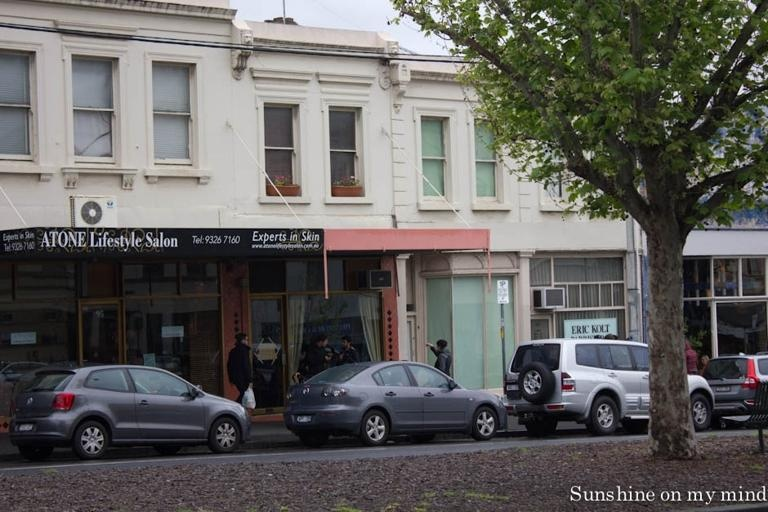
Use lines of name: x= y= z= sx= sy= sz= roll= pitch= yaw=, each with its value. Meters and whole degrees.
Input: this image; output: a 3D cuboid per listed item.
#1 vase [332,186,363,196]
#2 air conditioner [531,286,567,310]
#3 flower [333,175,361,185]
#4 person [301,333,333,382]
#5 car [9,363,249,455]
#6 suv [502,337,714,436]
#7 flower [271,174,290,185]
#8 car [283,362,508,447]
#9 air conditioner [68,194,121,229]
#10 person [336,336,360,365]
vase: x=-0.982 y=-1.735 z=27.787 sx=0.544 sy=0.189 sz=0.362 roll=1 pitch=-4 yaw=-22
air conditioner: x=4.971 y=1.267 z=30.161 sx=1.086 sy=0.613 sz=0.755 roll=0 pitch=-4 yaw=-30
flower: x=-0.988 y=-2.054 z=27.966 sx=0.709 sy=0.253 sz=0.354 roll=-1 pitch=7 yaw=-11
person: x=-1.735 y=2.668 z=26.329 sx=0.369 sy=0.468 sz=1.083 roll=5 pitch=-37 yaw=-21
car: x=-5.435 y=3.256 z=21.286 sx=3.795 sy=1.481 sz=2.076 roll=1 pitch=-4 yaw=-35
suv: x=5.469 y=3.278 z=25.211 sx=4.816 sy=2.002 sz=2.203 roll=-1 pitch=-2 yaw=-34
flower: x=-2.698 y=-1.994 z=27.171 sx=0.308 sy=0.149 sz=0.371 roll=2 pitch=-7 yaw=-18
car: x=0.318 y=3.351 z=23.306 sx=4.341 sy=1.563 sz=1.973 roll=1 pitch=-5 yaw=-32
air conditioner: x=-6.859 y=-0.978 z=24.252 sx=1.243 sy=1.006 sz=0.683 roll=2 pitch=-9 yaw=-23
person: x=-0.943 y=2.570 z=27.422 sx=0.597 sy=1.108 sz=0.730 roll=4 pitch=-3 yaw=-3
